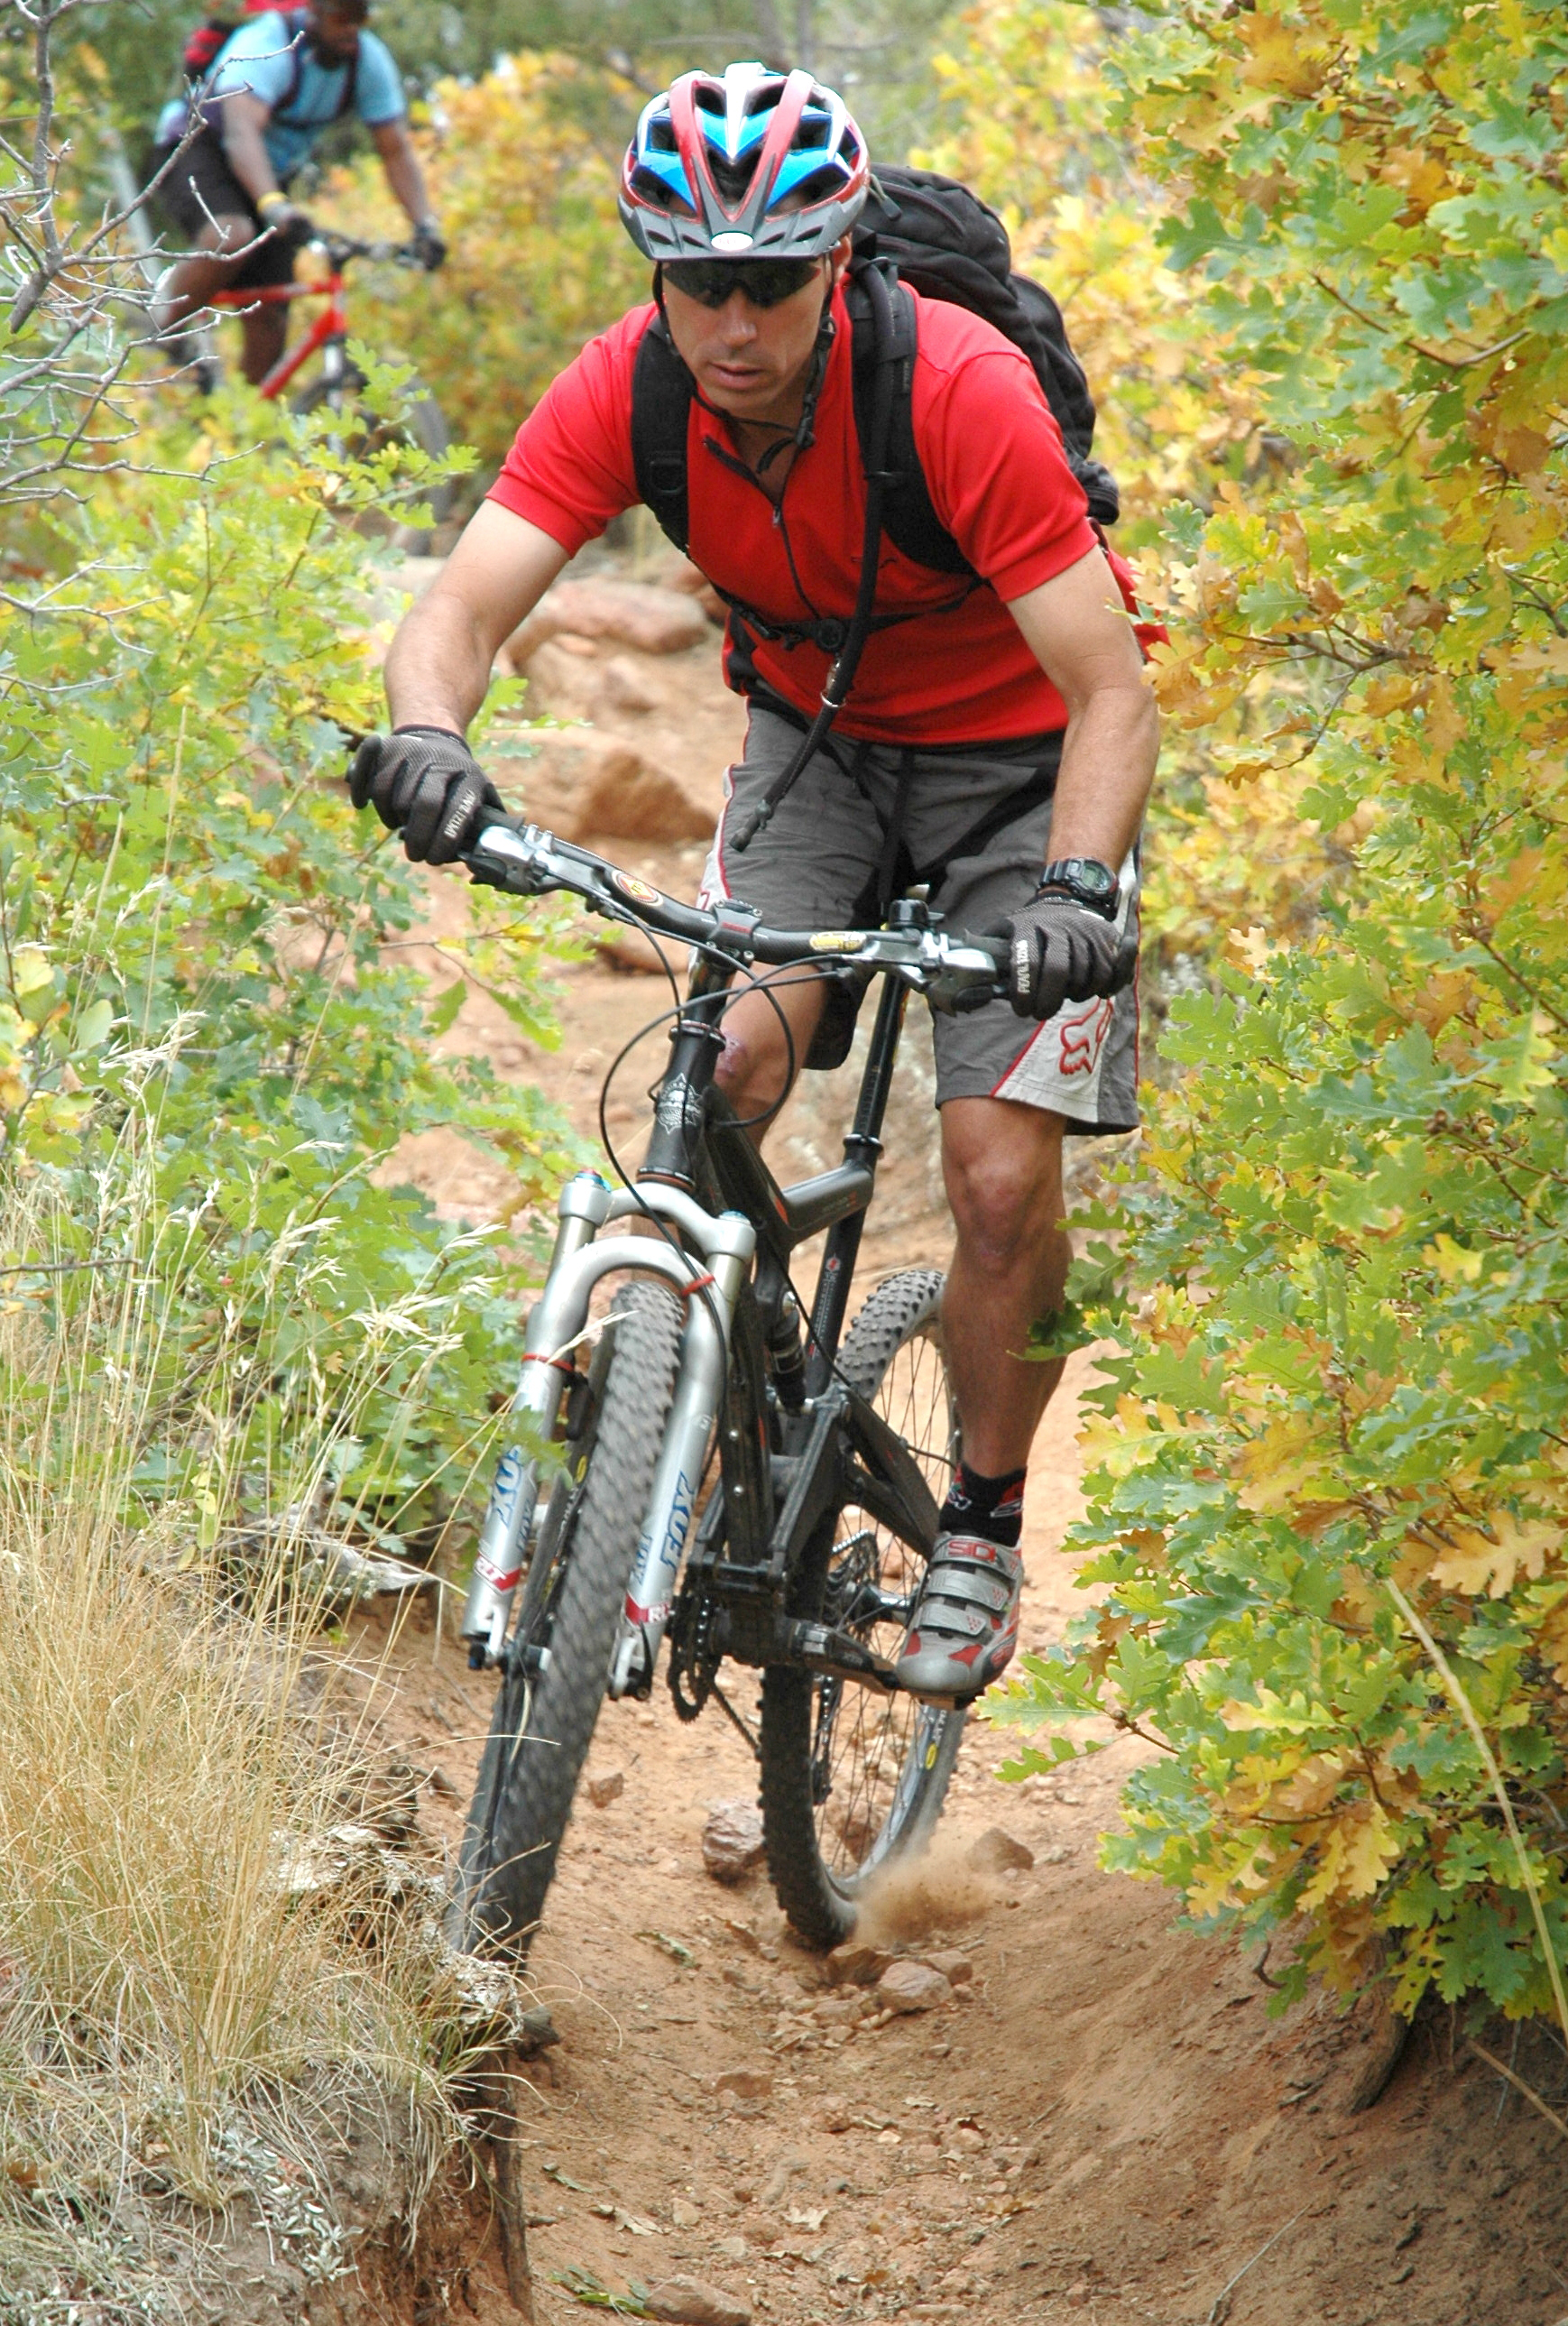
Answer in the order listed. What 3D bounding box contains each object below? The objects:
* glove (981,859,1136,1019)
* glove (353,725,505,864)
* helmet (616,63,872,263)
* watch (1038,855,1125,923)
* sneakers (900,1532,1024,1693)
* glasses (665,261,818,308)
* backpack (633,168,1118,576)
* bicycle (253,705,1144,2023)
[{"bbox_3d":[0.314,-0.269,2.691,0.159,0.093,0.223,-12,27,21],"label":"glove"},{"bbox_3d":[-0.416,-0.467,2.682,0.157,0.089,0.184,22,30,-23],"label":"glove"},{"bbox_3d":[-0.055,-1.372,3.050,0.354,0.163,0.452,-3,7,-3],"label":"helmet"},{"bbox_3d":[0.377,-0.337,2.802,0.108,0.059,0.107,6,-8,42],"label":"watch"},{"bbox_3d":[0.263,0.686,3.439,0.120,0.115,0.301,3,12,9],"label":"sneakers"},{"bbox_3d":[-0.058,-1.147,2.965,0.189,0.061,0.084,0,11,1],"label":"glasses"},{"bbox_3d":[0.163,-1.180,3.356,0.538,0.458,0.441,-36,27,-9],"label":"backpack"},{"bbox_3d":[-0.154,0.264,3.480,1.175,1.258,2.174,20,6,10],"label":"bicycle"}]
